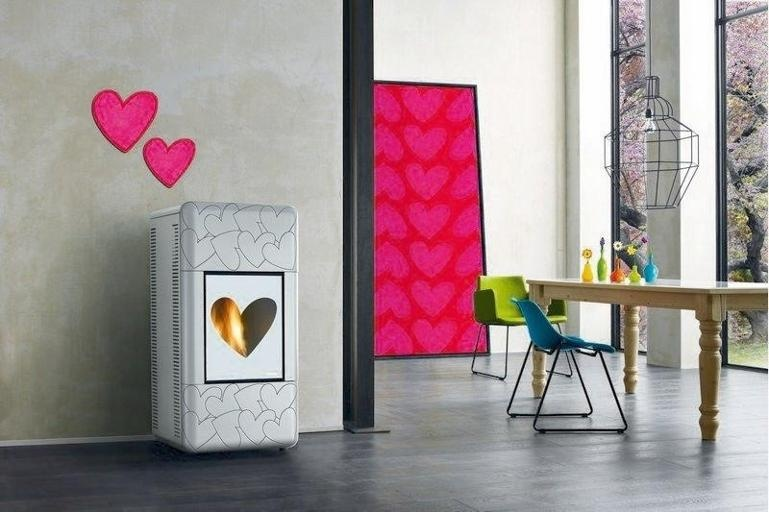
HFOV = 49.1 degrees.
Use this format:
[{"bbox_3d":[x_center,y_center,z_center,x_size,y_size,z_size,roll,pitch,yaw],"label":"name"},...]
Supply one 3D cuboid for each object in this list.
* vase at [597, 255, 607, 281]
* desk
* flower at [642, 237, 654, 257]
[{"bbox_3d":[2.104,0.119,8.098,0.091,0.225,0.276,2,5,13],"label":"vase"},{"bbox_3d":[2.408,0.788,7.475,1.147,1.263,1.982,-3,6,-34],"label":"desk"},{"bbox_3d":[3.036,-0.111,9.670,0.121,0.265,0.130,2,-42,16],"label":"flower"}]
